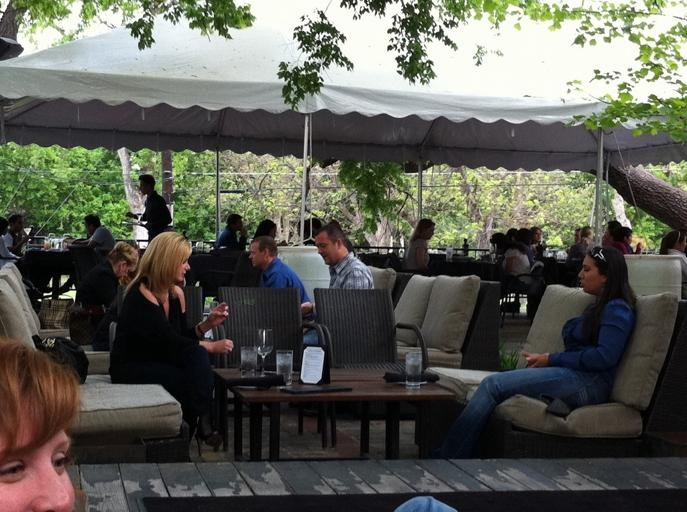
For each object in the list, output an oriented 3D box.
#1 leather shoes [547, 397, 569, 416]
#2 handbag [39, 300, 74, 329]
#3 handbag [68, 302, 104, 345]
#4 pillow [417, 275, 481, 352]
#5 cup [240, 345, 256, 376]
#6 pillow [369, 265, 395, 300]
[{"bbox_3d":[1.203,0.850,3.751,0.112,0.085,0.036,22,-23,-34],"label":"leather shoes"},{"bbox_3d":[-3.362,0.691,7.829,0.327,0.327,0.320,1,2,2],"label":"handbag"},{"bbox_3d":[-2.395,0.617,6.233,0.288,0.537,0.297,5,10,-10],"label":"handbag"},{"bbox_3d":[0.889,0.496,5.555,0.299,0.473,0.579,-6,-2,-17],"label":"pillow"},{"bbox_3d":[-0.554,0.636,4.049,0.140,0.223,0.141,-1,0,0],"label":"cup"},{"bbox_3d":[0.362,0.256,6.341,0.109,0.214,0.299,17,0,-22],"label":"pillow"}]
